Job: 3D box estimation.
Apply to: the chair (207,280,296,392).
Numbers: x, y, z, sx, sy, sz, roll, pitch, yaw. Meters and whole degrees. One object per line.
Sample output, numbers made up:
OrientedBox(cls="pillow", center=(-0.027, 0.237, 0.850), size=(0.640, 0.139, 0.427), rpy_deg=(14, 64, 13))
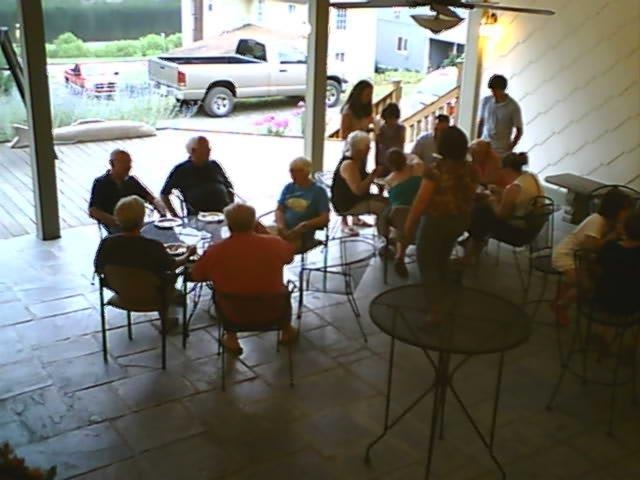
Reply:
OrientedBox(cls="chair", center=(-0.489, 0.629, 4.185), size=(0.681, 1.076, 0.743), rpy_deg=(-1, 49, -6))

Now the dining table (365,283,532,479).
OrientedBox(cls="dining table", center=(0.871, 0.882, 3.886), size=(1.022, 0.985, 1.180), rpy_deg=(13, 27, 22))

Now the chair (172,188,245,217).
OrientedBox(cls="chair", center=(-1.197, -0.374, 5.716), size=(0.540, 0.219, 0.461), rpy_deg=(-7, 2, 20))

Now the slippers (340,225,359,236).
OrientedBox(cls="slippers", center=(0.357, -0.113, 6.831), size=(0.151, 0.090, 0.376), rpy_deg=(1, 5, -2))

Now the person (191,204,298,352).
OrientedBox(cls="person", center=(-0.554, 0.326, 4.267), size=(0.793, 1.214, 0.579), rpy_deg=(-5, 26, -9))

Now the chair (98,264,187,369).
OrientedBox(cls="chair", center=(-1.401, 0.527, 4.501), size=(0.683, 0.844, 0.647), rpy_deg=(0, 15, -19))

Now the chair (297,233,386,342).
OrientedBox(cls="chair", center=(0.141, 0.314, 5.243), size=(0.907, 1.151, 0.959), rpy_deg=(4, 34, 0))

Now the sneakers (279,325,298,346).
OrientedBox(cls="sneakers", center=(-0.241, 0.791, 4.831), size=(0.116, 0.109, 0.247), rpy_deg=(7, 21, 17))

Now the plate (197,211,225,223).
OrientedBox(cls="plate", center=(-0.975, -0.199, 5.111), size=(0.143, 0.027, 0.139), rpy_deg=(-11, 25, -29))
